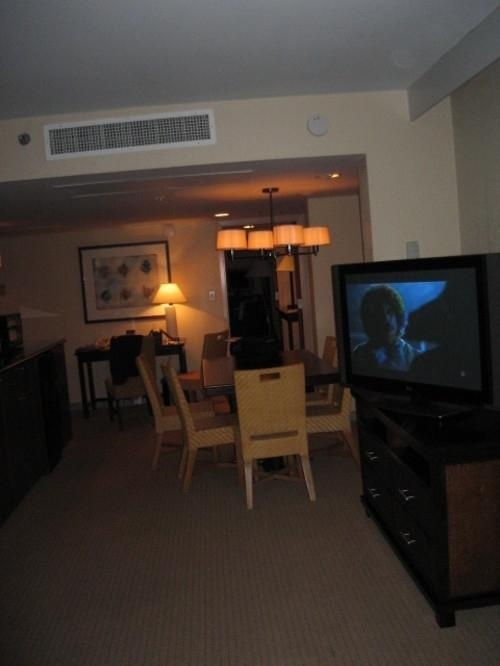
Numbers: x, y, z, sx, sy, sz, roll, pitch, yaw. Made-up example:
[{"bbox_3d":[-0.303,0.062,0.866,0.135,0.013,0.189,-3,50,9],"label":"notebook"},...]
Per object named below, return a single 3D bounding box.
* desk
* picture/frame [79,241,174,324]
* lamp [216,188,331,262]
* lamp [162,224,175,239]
[{"bbox_3d":[-1.362,0.538,5.744,1.109,0.751,0.530,-5,4,-10],"label":"desk"},{"bbox_3d":[-1.471,-0.635,6.187,1.120,0.977,0.023,-4,-11,-6],"label":"picture/frame"},{"bbox_3d":[0.223,-0.827,3.866,0.954,0.601,0.872,-8,7,-21],"label":"lamp"},{"bbox_3d":[-1.001,-1.269,6.154,0.125,0.155,0.120,-5,2,-8],"label":"lamp"}]
